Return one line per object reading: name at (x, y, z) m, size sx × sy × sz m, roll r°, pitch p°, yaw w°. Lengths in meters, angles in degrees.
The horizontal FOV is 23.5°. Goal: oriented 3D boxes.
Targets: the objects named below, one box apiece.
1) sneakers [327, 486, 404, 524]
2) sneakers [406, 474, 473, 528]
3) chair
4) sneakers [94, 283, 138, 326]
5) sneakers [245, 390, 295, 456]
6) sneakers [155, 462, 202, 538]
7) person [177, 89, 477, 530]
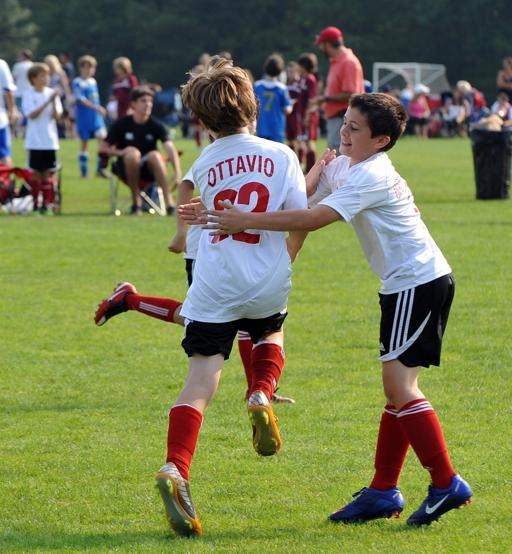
sneakers at (0.537, 1.077, 5.806) m, size 0.417 × 0.171 × 0.136 m, roll -6°, pitch -8°, yaw -2°
sneakers at (0.832, 1.052, 5.692) m, size 0.366 × 0.174 × 0.131 m, roll -30°, pitch -26°, yaw 18°
chair at (-1.373, -1.076, 13.451) m, size 0.749 × 0.893 × 0.747 m, roll 14°, pitch 25°, yaw 42°
sneakers at (-0.882, 0.196, 7.820) m, size 0.314 × 0.115 × 0.139 m, roll -38°, pitch 42°, yaw 9°
sneakers at (0.072, 0.666, 5.712) m, size 0.133 × 0.301 × 0.163 m, roll -9°, pitch 19°, yaw 7°
sneakers at (-0.334, 0.995, 5.488) m, size 0.132 × 0.351 × 0.180 m, roll -8°, pitch 23°, yaw 39°
person at (0.515, 0.133, 5.894) m, size 1.085 × 1.997 × 0.617 m, roll 2°, pitch 5°, yaw 8°
